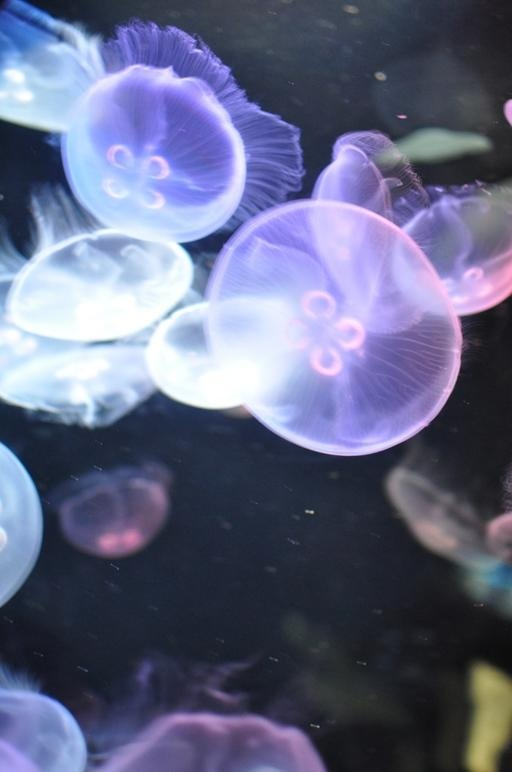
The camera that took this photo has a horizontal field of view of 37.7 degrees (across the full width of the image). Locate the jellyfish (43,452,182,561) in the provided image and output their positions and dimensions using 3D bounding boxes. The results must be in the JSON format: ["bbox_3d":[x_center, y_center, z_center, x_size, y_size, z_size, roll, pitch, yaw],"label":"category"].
[{"bbox_3d":[-0.666,0.593,3.518,0.532,0.295,0.327,-6,38,-13],"label":"jellyfish"}]
